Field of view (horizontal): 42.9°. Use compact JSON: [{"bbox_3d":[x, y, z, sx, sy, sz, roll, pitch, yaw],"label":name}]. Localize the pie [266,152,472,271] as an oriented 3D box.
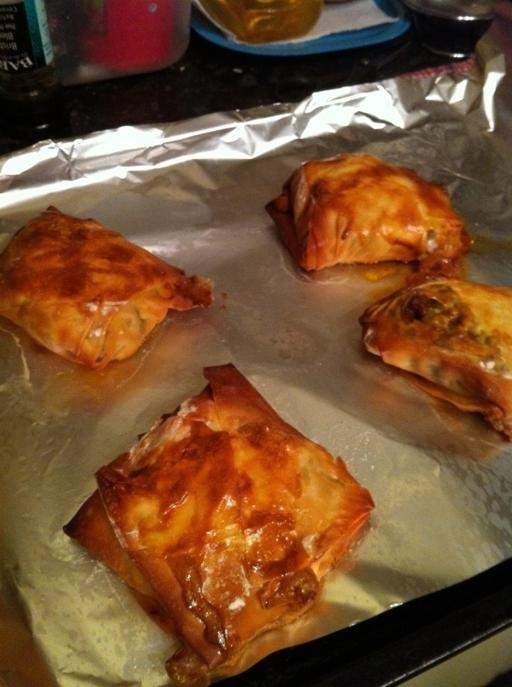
[{"bbox_3d":[0.208,-0.239,1.204,0.377,0.130,0.251,5,52,-2],"label":"pie"}]
